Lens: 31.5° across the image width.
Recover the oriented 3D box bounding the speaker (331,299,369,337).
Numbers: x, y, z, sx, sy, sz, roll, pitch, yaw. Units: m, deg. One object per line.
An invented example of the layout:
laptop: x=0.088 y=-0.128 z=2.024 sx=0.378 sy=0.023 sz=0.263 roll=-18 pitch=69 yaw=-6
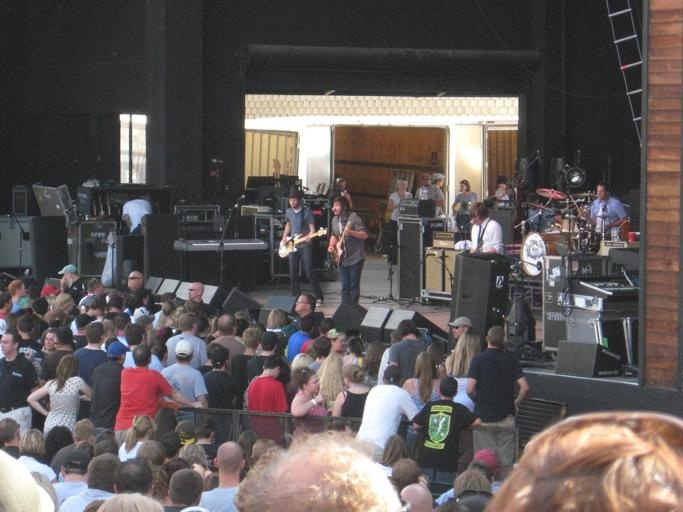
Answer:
speaker: x=0.074 y=0.880 z=16.678 sx=0.467 sy=0.767 sz=0.371 roll=4 pitch=4 yaw=30

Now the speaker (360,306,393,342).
speaker: x=0.455 y=0.895 z=16.231 sx=0.407 sy=0.454 sz=0.399 roll=-5 pitch=3 yaw=-41

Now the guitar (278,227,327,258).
guitar: x=-0.646 y=-0.195 z=19.508 sx=0.665 sy=0.442 sz=0.295 roll=2 pitch=3 yaw=0

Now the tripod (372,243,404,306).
tripod: x=0.871 y=0.353 z=21.577 sx=0.411 sy=0.992 sz=0.404 roll=-4 pitch=12 yaw=-9

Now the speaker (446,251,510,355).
speaker: x=1.826 y=0.635 z=16.222 sx=0.517 sy=1.252 sz=0.709 roll=-2 pitch=10 yaw=-19

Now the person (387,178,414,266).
person: x=1.081 y=-0.799 z=24.073 sx=0.439 sy=2.313 sz=0.423 roll=-7 pitch=13 yaw=-29

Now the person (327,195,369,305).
person: x=0.110 y=-0.102 z=18.681 sx=0.533 sy=1.609 sz=0.673 roll=1 pitch=2 yaw=32

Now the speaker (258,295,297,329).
speaker: x=-0.916 y=0.821 z=16.973 sx=0.375 sy=0.456 sz=0.754 roll=5 pitch=2 yaw=0

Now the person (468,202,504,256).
person: x=2.078 y=-0.337 z=17.427 sx=0.554 sy=1.118 sz=0.713 roll=-2 pitch=5 yaw=-2

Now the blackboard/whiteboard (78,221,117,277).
blackboard/whiteboard: x=-4.187 y=-0.122 z=20.799 sx=0.498 sy=1.100 sz=0.539 roll=-9 pitch=16 yaw=-40

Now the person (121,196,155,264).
person: x=-3.385 y=-0.524 z=20.333 sx=0.287 sy=0.852 sz=0.329 roll=-9 pitch=15 yaw=-40

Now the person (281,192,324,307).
person: x=-0.626 y=-0.099 z=19.614 sx=0.619 sy=1.857 sz=0.664 roll=0 pitch=1 yaw=-18

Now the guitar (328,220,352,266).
guitar: x=0.000 y=-0.186 z=18.859 sx=0.086 sy=0.288 sz=0.689 roll=1 pitch=-40 yaw=-15
